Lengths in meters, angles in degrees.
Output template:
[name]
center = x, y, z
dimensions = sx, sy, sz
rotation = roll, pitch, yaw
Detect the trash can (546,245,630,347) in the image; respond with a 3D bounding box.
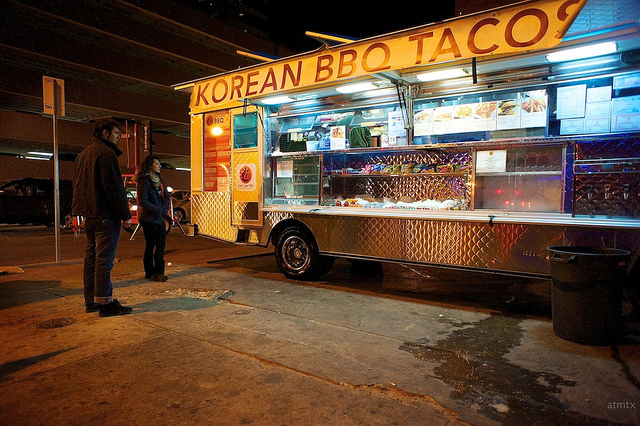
[trash can]
center = 3.526, 1.104, 5.557
dimensions = 1.196, 1.270, 1.370
rotation = 2, 1, 31

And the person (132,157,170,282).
[person]
center = -3.104, 0.146, 7.347
dimensions = 0.566, 2.293, 0.834
rotation = -6, 16, -23
